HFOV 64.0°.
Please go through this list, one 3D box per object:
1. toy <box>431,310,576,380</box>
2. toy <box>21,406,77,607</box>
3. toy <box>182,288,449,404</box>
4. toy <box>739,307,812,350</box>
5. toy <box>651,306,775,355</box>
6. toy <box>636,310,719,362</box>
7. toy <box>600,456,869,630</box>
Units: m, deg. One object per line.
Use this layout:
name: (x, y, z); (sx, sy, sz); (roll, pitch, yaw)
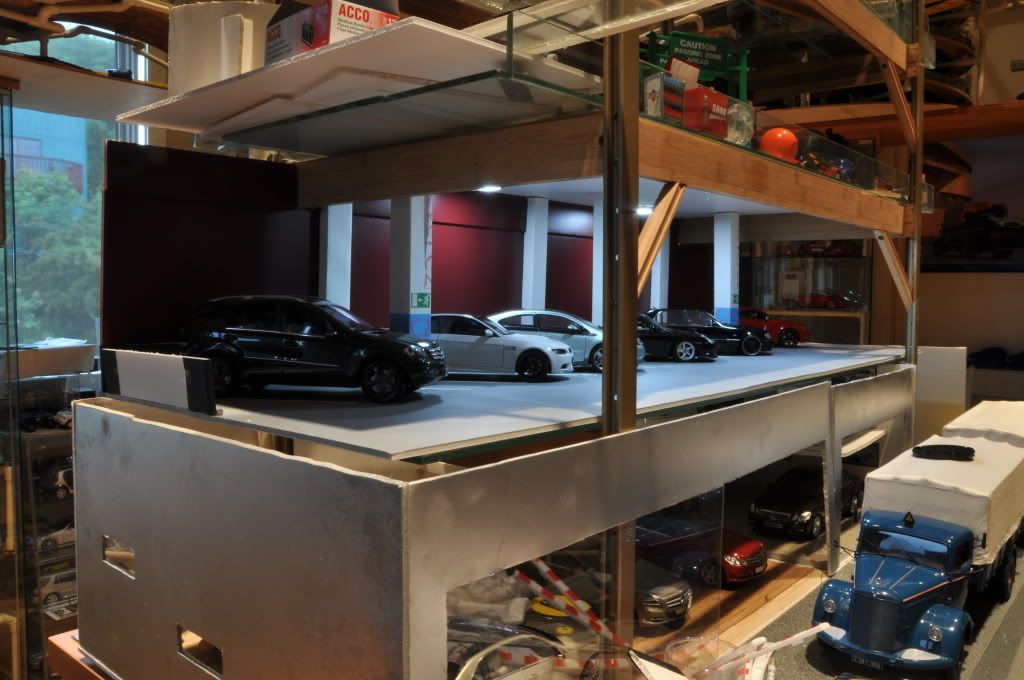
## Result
toy: (-0.062, 0.057, 5.737); (0.971, 0.295, 0.405); (0, 4, -1)
toy: (-3.713, 1.390, 6.618); (0.344, 1.608, 0.463); (-4, 7, -28)
toy: (-1.159, 0.031, 4.997); (1.469, 0.507, 0.650); (0, 2, 2)
toy: (3.093, -0.153, 9.693); (1.076, 0.305, 0.498); (-1, 9, -7)
toy: (2.039, -0.078, 8.168); (1.145, 0.305, 0.489); (2, 7, -10)
toy: (1.507, -0.035, 7.627); (1.003, 0.304, 0.424); (-1, 9, -1)
toy: (1.733, 1.598, 6.233); (1.511, 0.393, 1.676); (-3, 0, 40)
